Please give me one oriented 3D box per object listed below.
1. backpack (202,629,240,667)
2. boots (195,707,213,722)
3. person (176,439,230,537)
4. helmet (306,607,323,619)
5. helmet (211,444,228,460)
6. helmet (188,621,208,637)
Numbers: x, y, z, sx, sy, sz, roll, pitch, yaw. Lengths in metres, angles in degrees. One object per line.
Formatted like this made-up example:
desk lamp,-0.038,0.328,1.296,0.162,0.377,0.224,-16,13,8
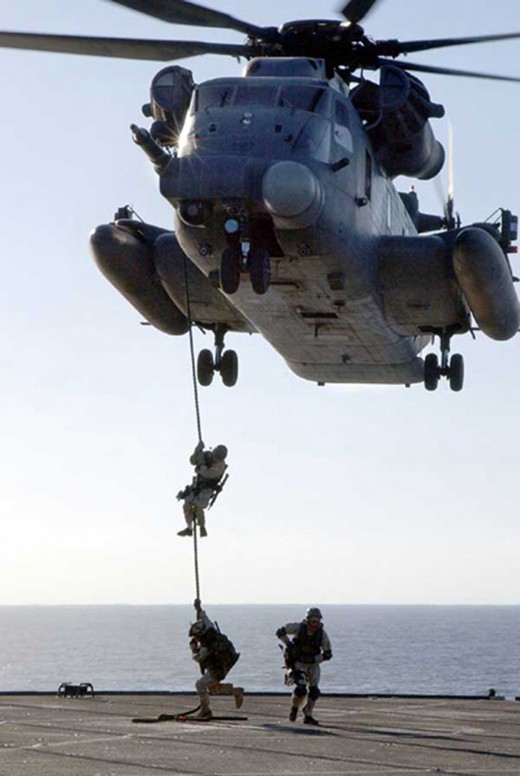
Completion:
backpack,-0.406,2.795,17.808,0.312,0.453,0.120,-25,-6,-29
boots,-0.578,3.414,17.680,0.181,0.161,0.413,2,-13,-2
person,-0.623,1.115,18.599,0.522,1.021,0.973,2,-13,-3
helmet,0.589,2.455,18.349,0.145,0.162,0.178,3,-22,-8
helmet,-0.425,0.735,18.606,0.138,0.209,0.504,3,-14,-7
helmet,-0.645,2.515,17.716,0.187,0.158,0.332,2,-13,-3
